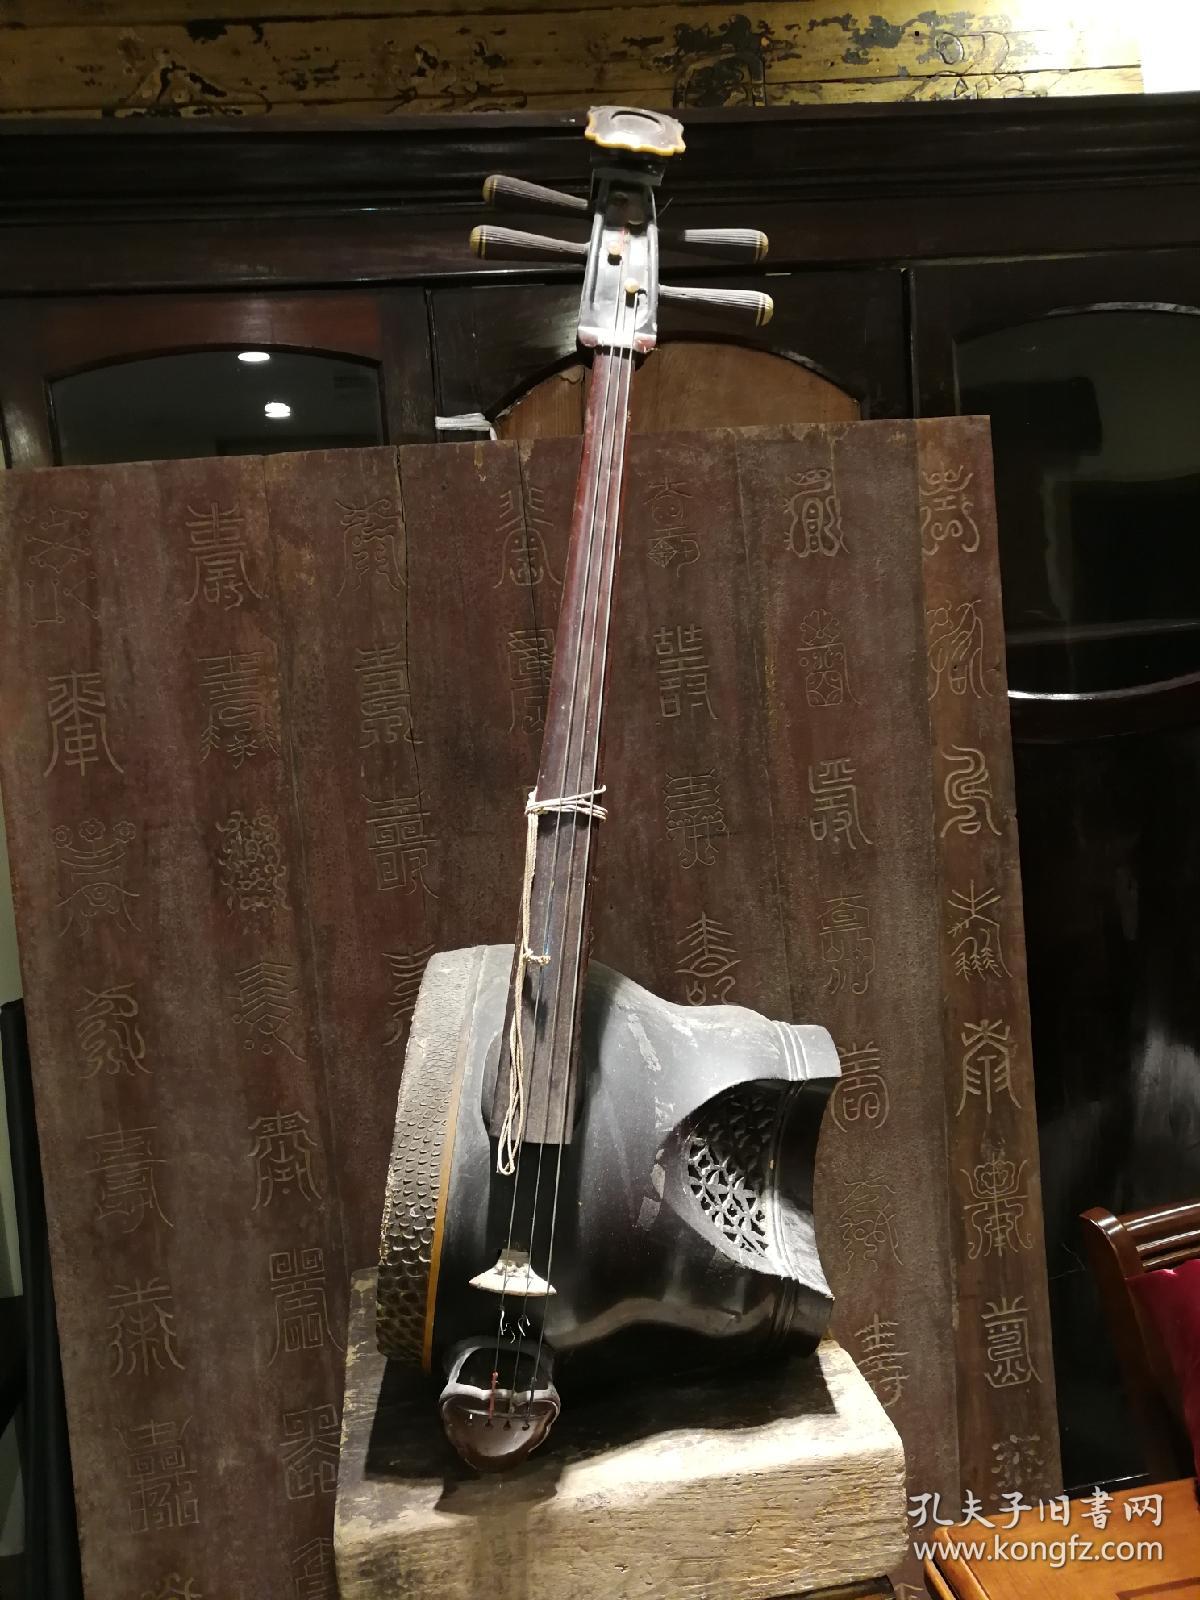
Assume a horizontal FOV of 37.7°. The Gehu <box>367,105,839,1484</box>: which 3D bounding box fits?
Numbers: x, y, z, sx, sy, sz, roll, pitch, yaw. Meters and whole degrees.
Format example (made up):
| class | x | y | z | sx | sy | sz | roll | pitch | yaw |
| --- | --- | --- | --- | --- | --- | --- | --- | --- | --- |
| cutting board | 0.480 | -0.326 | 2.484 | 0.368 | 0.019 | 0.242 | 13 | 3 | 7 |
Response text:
| class | x | y | z | sx | sy | sz | roll | pitch | yaw |
| --- | --- | --- | --- | --- | --- | --- | --- | --- | --- |
| Gehu | -0.005 | -0.057 | 1.894 | 0.489 | 1.441 | 0.207 | -1 | -8 | -8 |
